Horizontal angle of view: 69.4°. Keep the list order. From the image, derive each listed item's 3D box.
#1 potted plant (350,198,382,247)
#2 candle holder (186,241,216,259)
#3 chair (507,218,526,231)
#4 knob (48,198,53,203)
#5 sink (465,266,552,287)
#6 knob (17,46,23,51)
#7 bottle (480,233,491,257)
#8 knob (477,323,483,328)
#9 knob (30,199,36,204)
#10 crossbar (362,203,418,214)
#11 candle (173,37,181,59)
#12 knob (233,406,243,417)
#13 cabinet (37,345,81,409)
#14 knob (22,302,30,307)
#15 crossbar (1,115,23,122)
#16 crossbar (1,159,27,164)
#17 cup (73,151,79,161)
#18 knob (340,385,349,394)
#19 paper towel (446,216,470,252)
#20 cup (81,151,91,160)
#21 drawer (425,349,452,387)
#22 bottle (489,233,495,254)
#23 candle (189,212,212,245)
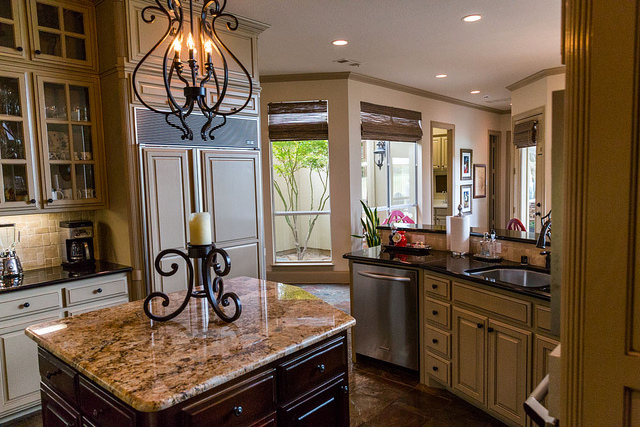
[{"bbox_3d":[0.671,0.115,6.701,0.391,0.655,0.724,-1,5,13],"label":"potted plant"},{"bbox_3d":[-0.665,0.209,2.589,0.143,0.087,0.091,-4,5,-18],"label":"candle holder"},{"bbox_3d":[2.469,0.137,5.779,0.186,0.242,0.189,-3,0,38],"label":"chair"},{"bbox_3d":[-2.210,-0.108,3.790,0.010,0.037,0.034,1,6,30],"label":"knob"},{"bbox_3d":[1.401,0.464,3.426,0.280,0.137,0.339,-6,8,-35],"label":"sink"},{"bbox_3d":[-2.341,-1.286,3.609,0.033,0.034,0.013,-5,6,-31],"label":"knob"},{"bbox_3d":[1.374,0.259,3.844,0.084,0.179,0.190,0,5,18],"label":"bottle"},{"bbox_3d":[1.161,0.810,3.350,0.038,0.012,0.039,1,8,13],"label":"knob"},{"bbox_3d":[-2.303,-0.099,3.705,0.028,0.019,0.033,5,8,-30],"label":"knob"},{"bbox_3d":[1.211,-0.097,7.514,1.138,0.085,0.065,-6,7,-41],"label":"crossbar"},{"bbox_3d":[-0.737,-0.852,2.390,0.030,0.111,0.065,-4,6,-16],"label":"candle"},{"bbox_3d":[-0.402,0.966,2.271,0.045,0.044,0.016,2,-1,-36],"label":"knob"},{"bbox_3d":[-1.389,0.872,2.580,0.298,0.185,0.280,25,16,31],"label":"cabinet"},{"bbox_3d":[-2.191,0.678,3.439,0.040,0.025,0.047,3,-3,-20],"label":"knob"},{"bbox_3d":[-2.416,-0.742,3.625,0.138,0.043,0.028,-6,7,-39],"label":"crossbar"},{"bbox_3d":[-2.408,-0.408,3.640,0.170,0.036,0.019,-5,6,-36],"label":"crossbar"},{"bbox_3d":[-2.074,-0.489,3.935,0.043,0.080,0.026,-5,6,-28],"label":"cup"},{"bbox_3d":[0.145,1.022,2.697,0.037,0.014,0.054,1,-1,42],"label":"knob"},{"bbox_3d":[1.189,0.178,4.042,0.238,0.317,0.188,2,7,36],"label":"paper towel"},{"bbox_3d":[-2.013,-0.496,3.977,0.055,0.058,0.060,-1,8,-13],"label":"cup"},{"bbox_3d":[0.942,1.230,3.691,0.162,0.220,0.199,5,1,-35],"label":"drawer"},{"bbox_3d":[1.414,0.246,3.797,0.036,0.174,0.046,1,6,25],"label":"bottle"},{"bbox_3d":[-0.676,0.085,2.608,0.119,0.173,0.099,-4,6,-16],"label":"candle"}]
